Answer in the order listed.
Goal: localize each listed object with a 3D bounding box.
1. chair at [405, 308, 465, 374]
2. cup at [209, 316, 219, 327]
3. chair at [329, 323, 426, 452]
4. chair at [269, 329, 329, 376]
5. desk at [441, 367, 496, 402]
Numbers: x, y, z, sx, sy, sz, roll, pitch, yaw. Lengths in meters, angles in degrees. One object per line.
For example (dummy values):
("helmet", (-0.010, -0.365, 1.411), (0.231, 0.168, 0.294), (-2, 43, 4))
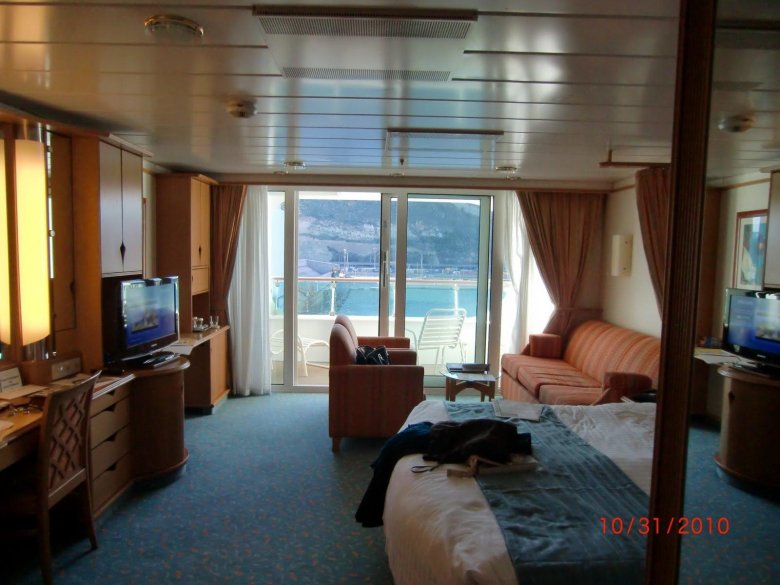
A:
("chair", (0.544, 0.490, 6.958), (0.629, 0.954, 0.647), (-1, 8, -12))
("cup", (-1.703, 0.291, 6.030), (0.083, 0.110, 0.439), (0, 8, -15))
("chair", (-0.120, 0.738, 5.623), (0.796, 0.876, 1.377), (2, 6, -1))
("chair", (-1.008, 0.686, 6.883), (0.534, 0.818, 0.500), (-2, 4, -10))
("desk", (0.717, 0.786, 5.482), (0.312, 0.308, 0.323), (0, 4, 3))
